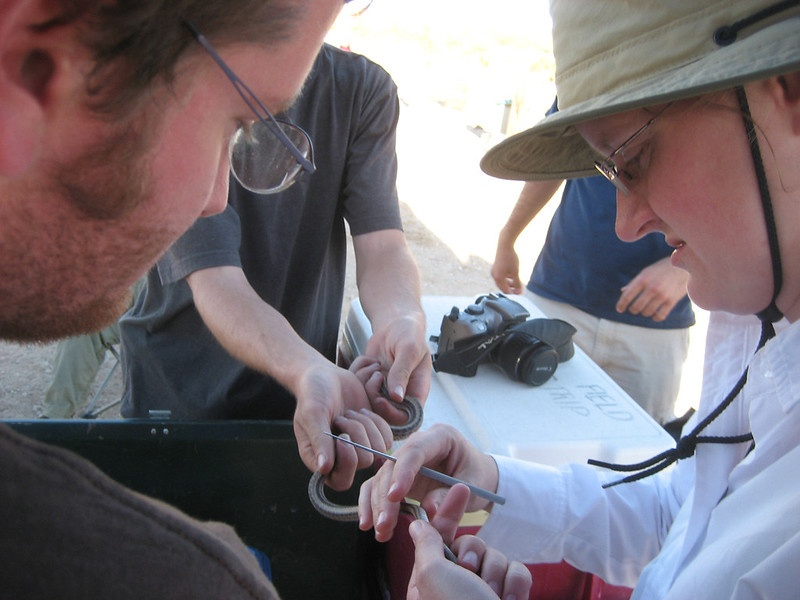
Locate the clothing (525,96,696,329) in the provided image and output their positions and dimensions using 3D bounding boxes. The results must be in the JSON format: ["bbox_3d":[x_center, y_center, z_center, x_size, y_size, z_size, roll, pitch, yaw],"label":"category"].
[{"bbox_3d":[1.178,-0.312,4.153,0.646,1.305,0.736,-16,30,-37],"label":"clothing"}]

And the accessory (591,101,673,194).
[{"bbox_3d":[0.652,-0.446,2.242,0.130,0.216,0.091,20,31,37],"label":"accessory"}]
